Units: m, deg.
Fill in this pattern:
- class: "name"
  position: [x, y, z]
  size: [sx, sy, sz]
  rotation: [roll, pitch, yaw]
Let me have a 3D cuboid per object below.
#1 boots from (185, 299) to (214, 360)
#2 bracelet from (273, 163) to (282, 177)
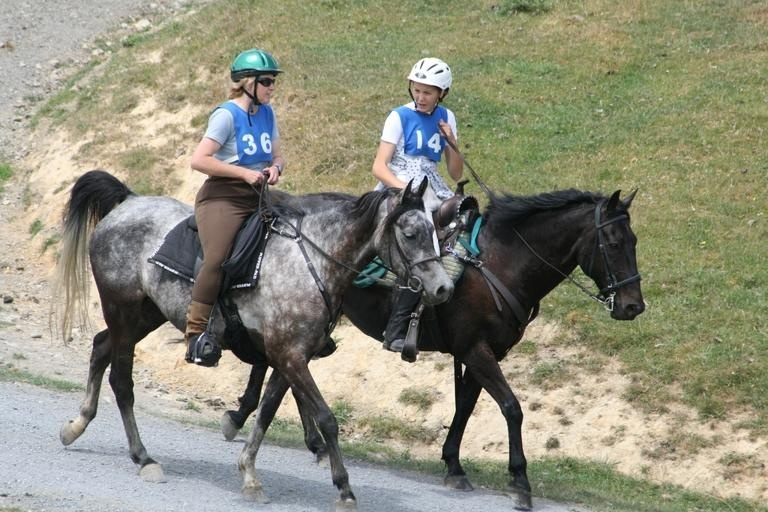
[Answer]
- class: "boots"
  position: [-3.932, 1.630, 29.597]
  size: [0.691, 1.328, 0.325]
  rotation: [10, 1, 1]
- class: "bracelet"
  position: [-2.282, -1.855, 30.016]
  size: [0.081, 0.216, 0.210]
  rotation: [-13, -38, -9]
